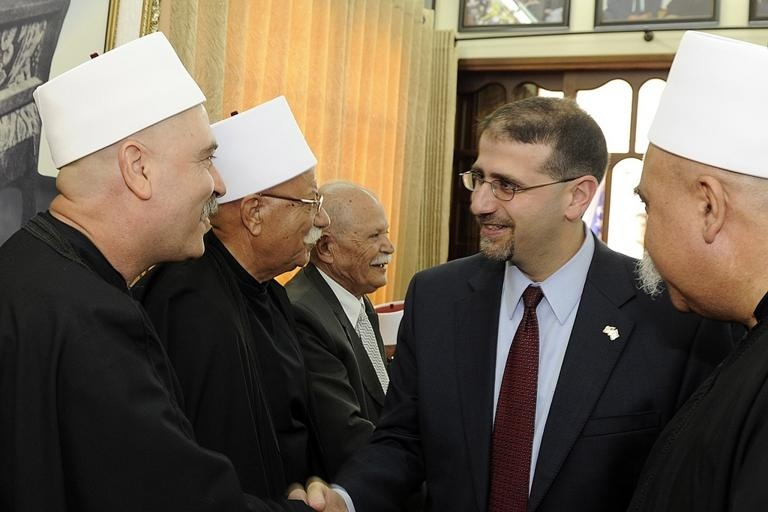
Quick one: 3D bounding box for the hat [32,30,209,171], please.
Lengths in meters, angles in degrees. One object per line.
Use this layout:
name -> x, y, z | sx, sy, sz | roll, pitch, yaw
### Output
hat -> -0.862, -0.448, 1.984 | 0.442, 0.235, 0.461 | -27, 6, 25

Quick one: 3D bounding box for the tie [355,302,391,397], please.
tie -> -0.062, 0.475, 3.223 | 0.055, 0.466, 0.122 | -8, 38, 23

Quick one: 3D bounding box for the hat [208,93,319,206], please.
hat -> -0.500, -0.422, 2.803 | 0.451, 0.353, 0.403 | -24, 8, -24
